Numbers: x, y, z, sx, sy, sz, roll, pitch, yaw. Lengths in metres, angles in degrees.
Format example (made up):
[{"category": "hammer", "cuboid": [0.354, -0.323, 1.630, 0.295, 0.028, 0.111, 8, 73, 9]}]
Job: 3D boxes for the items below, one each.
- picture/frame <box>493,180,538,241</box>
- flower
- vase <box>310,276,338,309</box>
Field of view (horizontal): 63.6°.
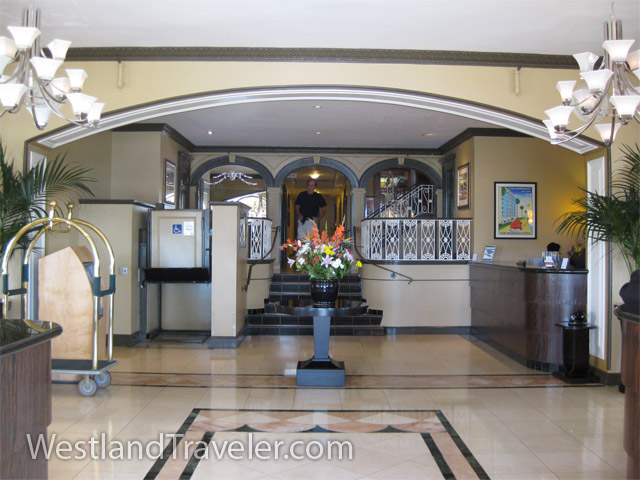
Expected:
[{"category": "picture/frame", "cuboid": [3.736, -0.548, 10.054, 1.140, 1.521, 0.063, 1, 0, -4]}, {"category": "flower", "cuboid": [-0.096, 0.172, 6.774, 1.243, 0.911, 1.208, 2, 3, -22]}, {"category": "vase", "cuboid": [0.055, 0.663, 6.311, 0.306, 0.277, 0.350, 1, -2, -1]}]
